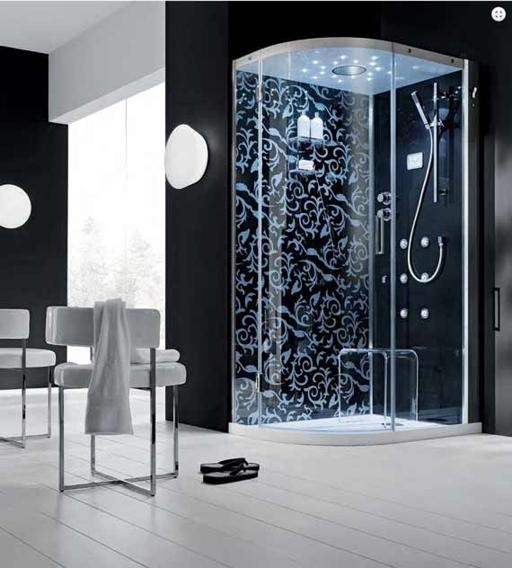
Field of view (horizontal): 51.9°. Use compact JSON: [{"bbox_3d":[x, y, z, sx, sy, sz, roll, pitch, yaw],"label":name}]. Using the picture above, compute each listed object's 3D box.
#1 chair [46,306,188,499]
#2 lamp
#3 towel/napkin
[{"bbox_3d":[-0.629,0.523,2.430,0.474,1.005,0.577,3,5,9],"label":"chair"},{"bbox_3d":[-0.522,-0.953,3.979,0.081,0.482,0.374,0,2,-36],"label":"lamp"},{"bbox_3d":[-0.530,0.334,2.120,0.288,0.533,0.189,2,-5,-24],"label":"towel/napkin"}]
